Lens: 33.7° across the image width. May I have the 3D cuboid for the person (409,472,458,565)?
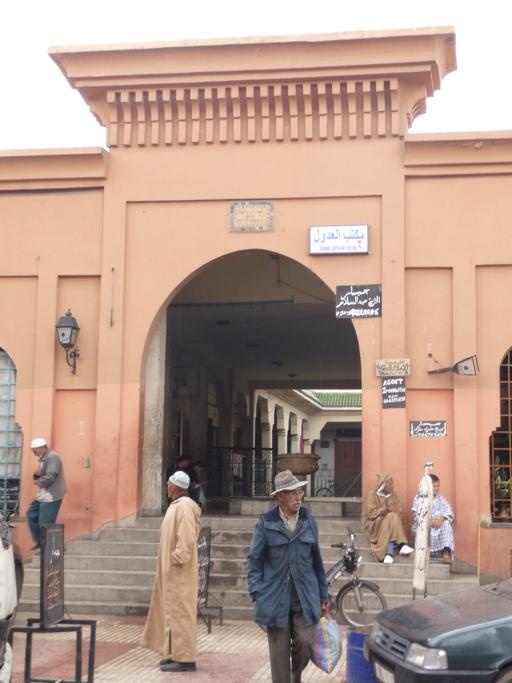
[{"bbox_3d":[2.177,2.157,10.339,0.466,1.067,0.935,-5,-14,37],"label":"person"}]

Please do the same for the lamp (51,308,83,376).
[{"bbox_3d":[-2.604,0.007,11.802,0.293,0.919,0.258,4,2,1],"label":"lamp"}]

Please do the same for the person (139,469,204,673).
[{"bbox_3d":[-0.644,1.894,7.061,0.393,1.583,0.570,7,-11,-19],"label":"person"}]

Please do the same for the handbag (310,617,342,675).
[{"bbox_3d":[0.452,2.007,5.559,0.188,0.352,0.270,3,-11,5],"label":"handbag"}]

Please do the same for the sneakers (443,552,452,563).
[{"bbox_3d":[2.269,2.581,10.112,0.110,0.155,0.125,1,-11,13],"label":"sneakers"}]

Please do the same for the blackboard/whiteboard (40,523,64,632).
[{"bbox_3d":[-1.459,1.678,6.093,0.162,0.671,0.588,4,-11,-5],"label":"blackboard/whiteboard"}]

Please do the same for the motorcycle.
[{"bbox_3d":[0.756,2.476,8.878,1.347,0.958,0.762,-2,1,9],"label":"motorcycle"}]

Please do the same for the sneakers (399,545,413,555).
[{"bbox_3d":[1.785,2.508,10.142,0.163,0.134,0.211,2,-11,10],"label":"sneakers"}]

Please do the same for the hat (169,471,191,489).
[{"bbox_3d":[-0.653,1.173,7.200,0.125,0.111,0.185,11,-2,-23],"label":"hat"}]

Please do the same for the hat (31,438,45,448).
[{"bbox_3d":[-2.696,1.286,10.542,0.155,0.143,0.247,6,-12,-12],"label":"hat"}]

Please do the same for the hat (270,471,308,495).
[{"bbox_3d":[0.203,0.944,5.659,0.188,0.096,0.198,-21,-9,5],"label":"hat"}]
